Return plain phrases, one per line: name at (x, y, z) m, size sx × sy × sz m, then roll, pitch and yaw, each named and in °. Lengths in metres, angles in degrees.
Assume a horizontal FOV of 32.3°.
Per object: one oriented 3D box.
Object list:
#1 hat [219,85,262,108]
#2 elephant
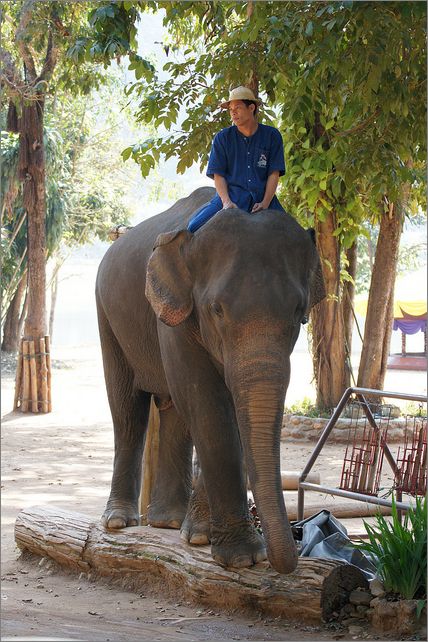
hat at (0.132, -1.051, 3.444) m, size 0.151 × 0.099 × 0.199 m, roll -8°, pitch -1°, yaw 7°
elephant at (-0.030, 0.256, 3.563) m, size 0.847 × 1.644 × 1.860 m, roll 0°, pitch -1°, yaw -21°
